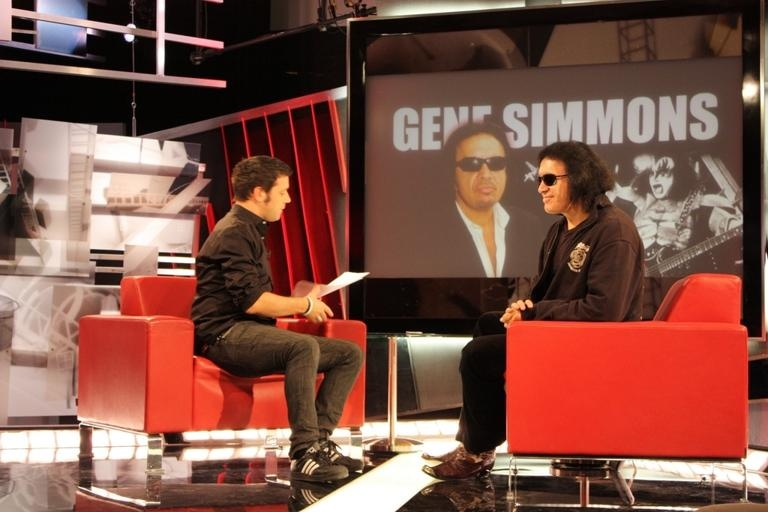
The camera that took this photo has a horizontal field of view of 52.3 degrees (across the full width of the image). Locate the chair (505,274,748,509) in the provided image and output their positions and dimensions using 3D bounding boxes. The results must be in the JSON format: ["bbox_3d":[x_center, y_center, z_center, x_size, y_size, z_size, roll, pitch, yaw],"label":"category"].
[{"bbox_3d":[1.176,0.617,3.826,0.929,0.825,1.002,0,-5,11],"label":"chair"}]

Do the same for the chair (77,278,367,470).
[{"bbox_3d":[-1.024,0.613,4.921,1.542,0.905,1.114,5,-7,-35],"label":"chair"}]
